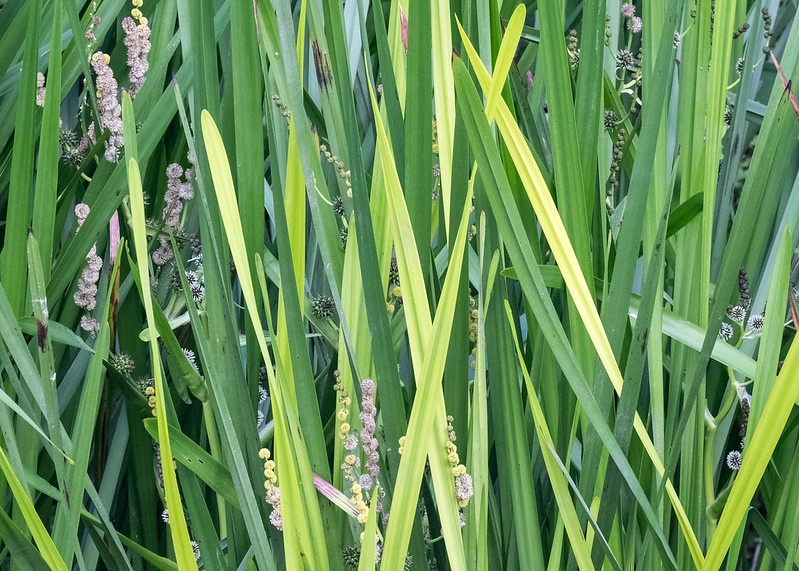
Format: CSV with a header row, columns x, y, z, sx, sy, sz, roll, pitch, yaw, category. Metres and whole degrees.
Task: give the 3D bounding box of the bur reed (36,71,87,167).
x,y,z,sx,sy,sz,roll,pitch,yaw,category
-0.253,-0.123,0.852,0.029,0.092,0.027,-16,19,-34,bur reed
